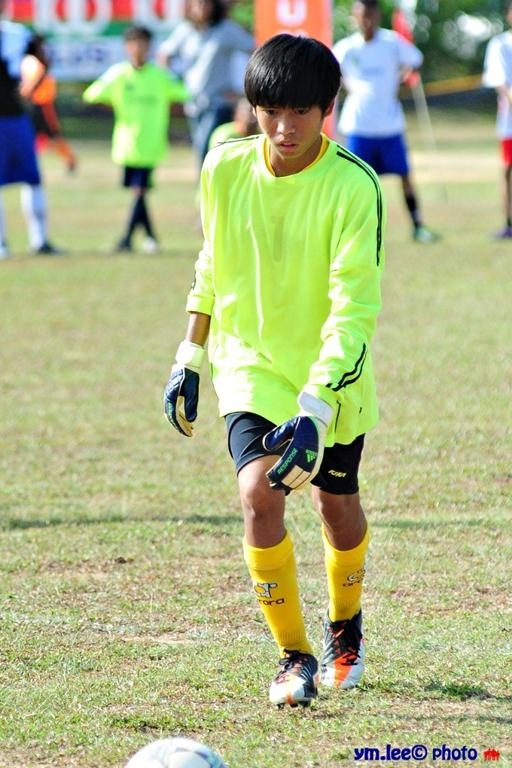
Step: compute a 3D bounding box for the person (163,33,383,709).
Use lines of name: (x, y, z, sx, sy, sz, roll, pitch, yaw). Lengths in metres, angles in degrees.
person: (0.076, -0.002, 2.203, 0.415, 1.429, 0.592, -3, 14, -10)

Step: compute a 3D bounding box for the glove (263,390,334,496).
glove: (0.086, 0.126, 1.985, 0.075, 0.186, 0.140, 20, 8, -17)
